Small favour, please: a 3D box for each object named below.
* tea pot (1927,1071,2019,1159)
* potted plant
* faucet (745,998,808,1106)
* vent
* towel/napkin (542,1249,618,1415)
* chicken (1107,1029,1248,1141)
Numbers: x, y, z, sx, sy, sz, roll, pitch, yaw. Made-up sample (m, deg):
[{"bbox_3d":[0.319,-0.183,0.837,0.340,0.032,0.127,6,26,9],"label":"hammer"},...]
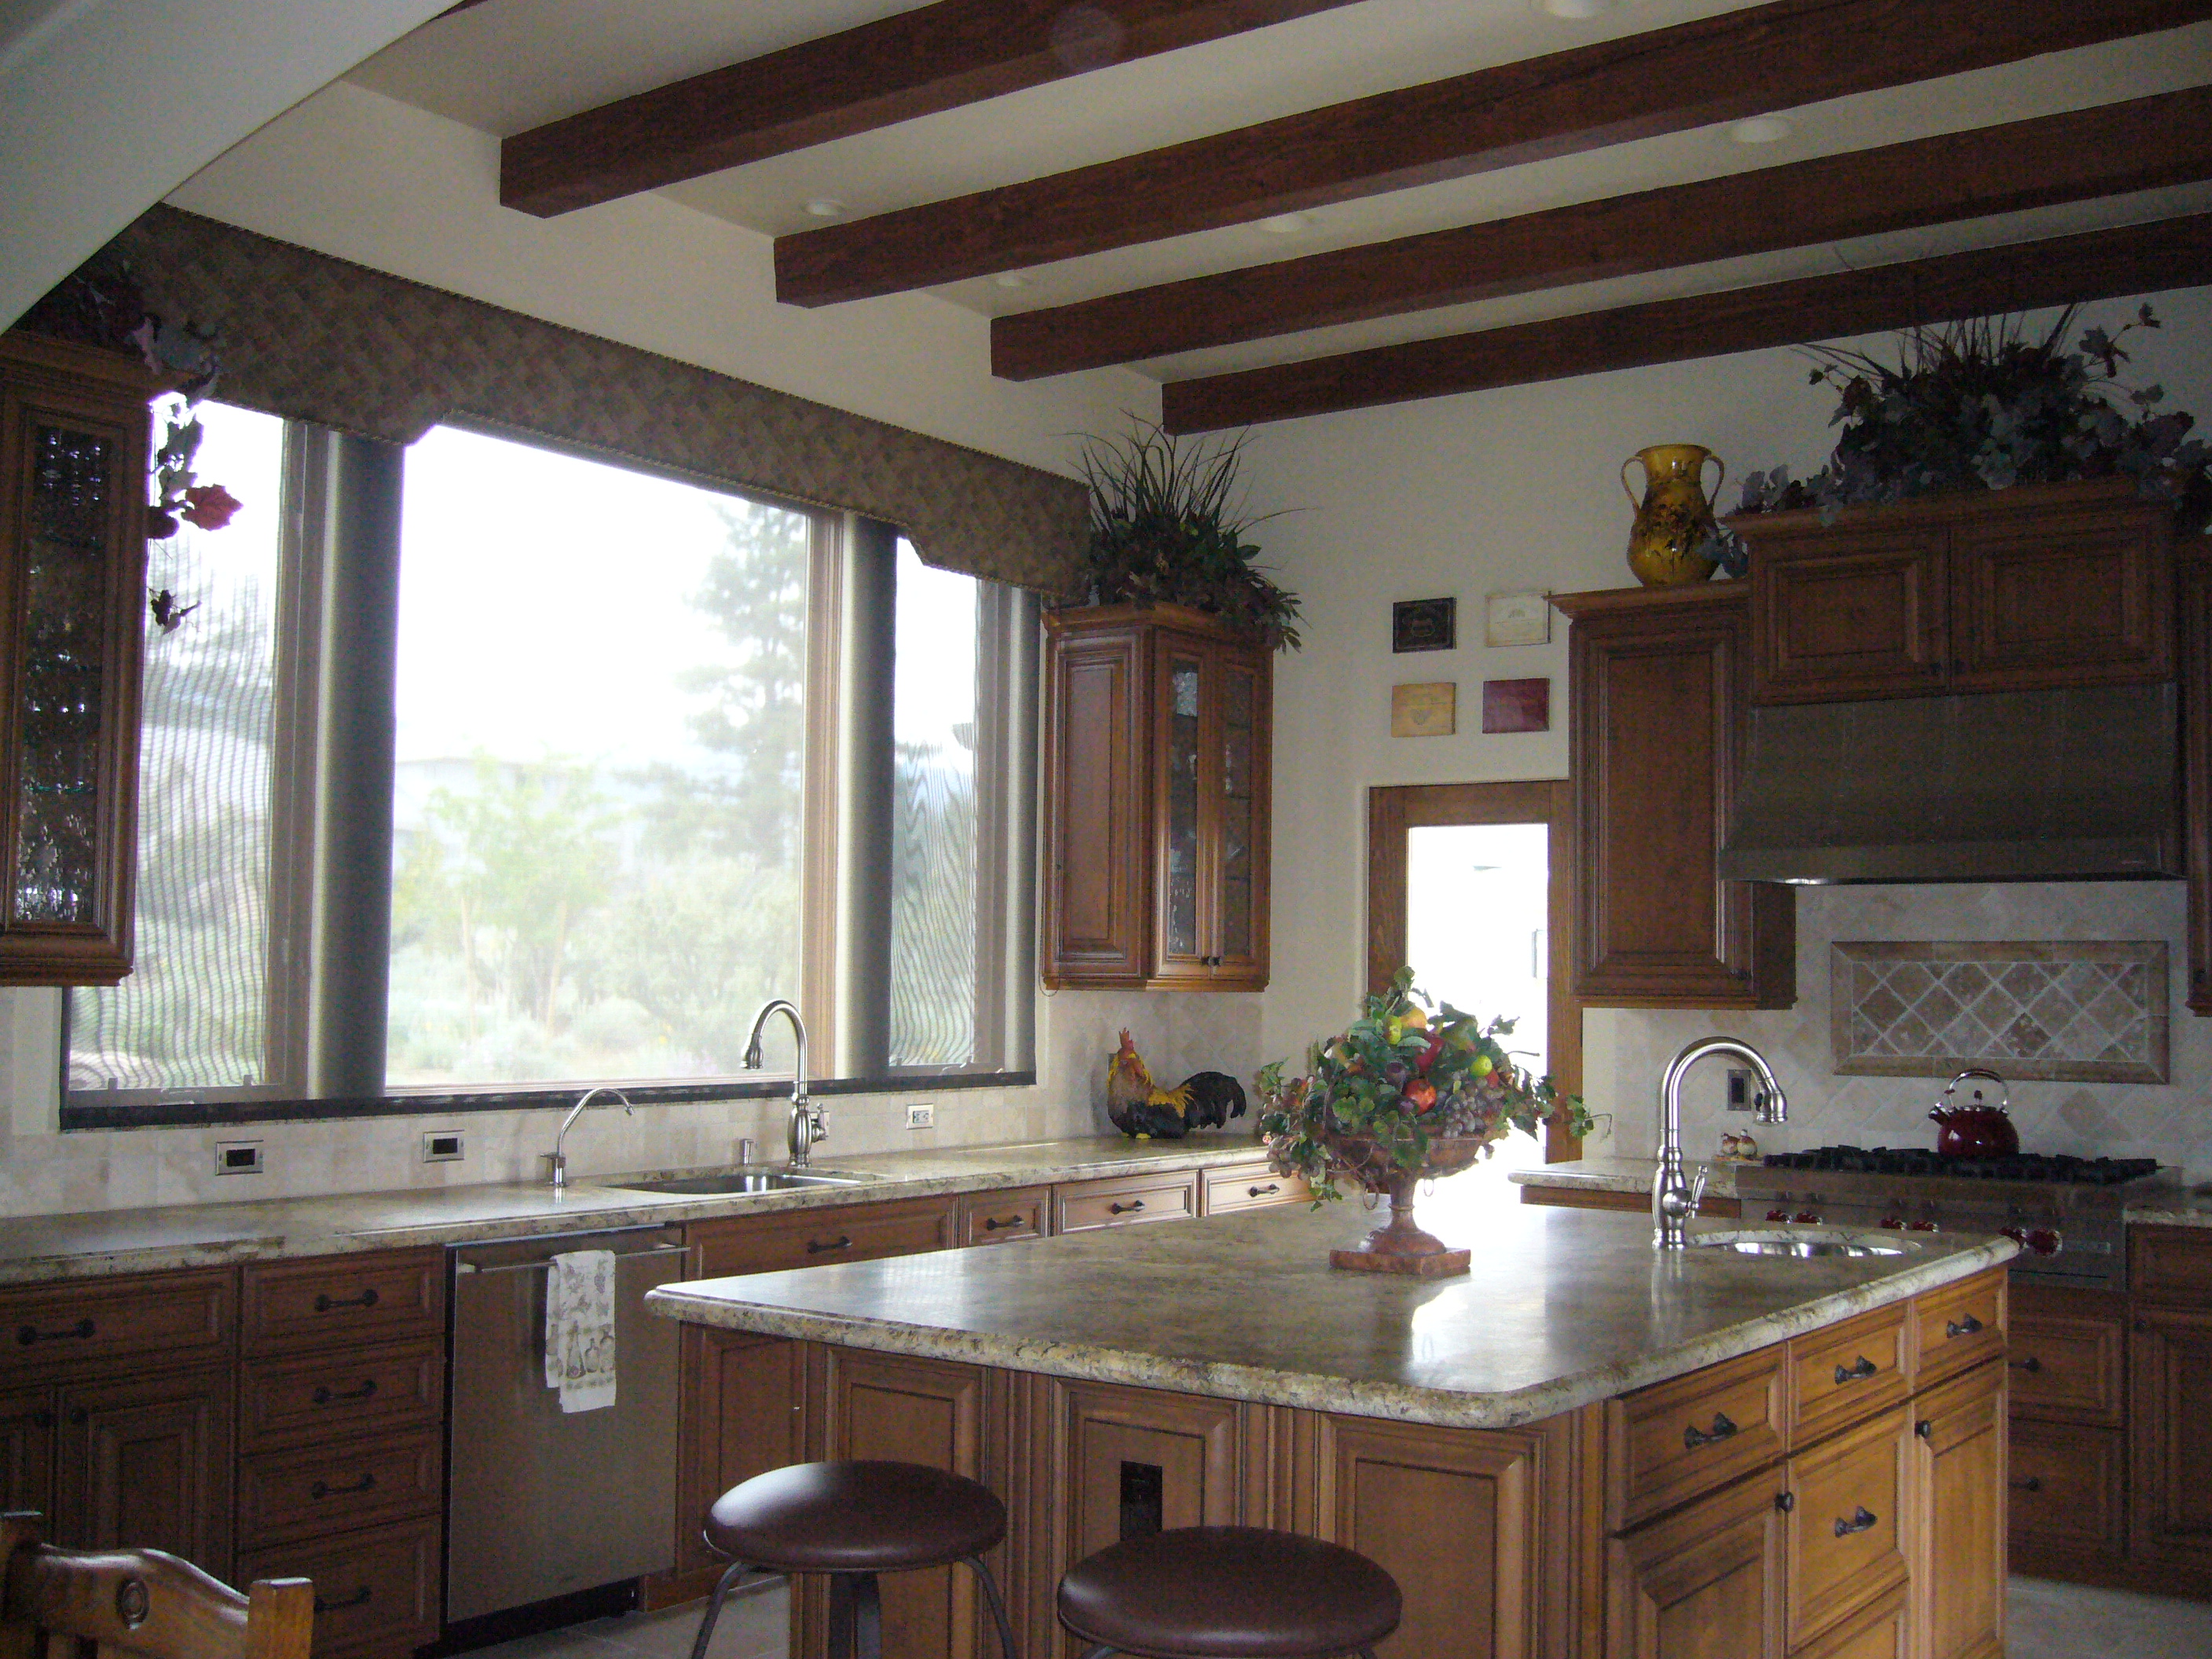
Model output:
[{"bbox_3d":[2.719,0.906,5.610,0.264,0.280,0.297,0,2,32],"label":"tea pot"},{"bbox_3d":[0.298,-1.081,7.202,1.032,0.940,0.848,7,-7,-40],"label":"potted plant"},{"bbox_3d":[-1.047,0.709,5.690,0.202,0.331,0.671,1,-4,-10],"label":"faucet"},{"bbox_3d":[2.530,-0.134,5.364,1.218,0.563,0.253,-2,-4,25],"label":"vent"},{"bbox_3d":[-1.308,1.265,4.471,0.201,0.406,0.053,3,-4,-41],"label":"towel/napkin"},{"bbox_3d":[0.284,1.002,6.976,0.550,0.389,0.487,0,-4,0],"label":"chicken"}]
